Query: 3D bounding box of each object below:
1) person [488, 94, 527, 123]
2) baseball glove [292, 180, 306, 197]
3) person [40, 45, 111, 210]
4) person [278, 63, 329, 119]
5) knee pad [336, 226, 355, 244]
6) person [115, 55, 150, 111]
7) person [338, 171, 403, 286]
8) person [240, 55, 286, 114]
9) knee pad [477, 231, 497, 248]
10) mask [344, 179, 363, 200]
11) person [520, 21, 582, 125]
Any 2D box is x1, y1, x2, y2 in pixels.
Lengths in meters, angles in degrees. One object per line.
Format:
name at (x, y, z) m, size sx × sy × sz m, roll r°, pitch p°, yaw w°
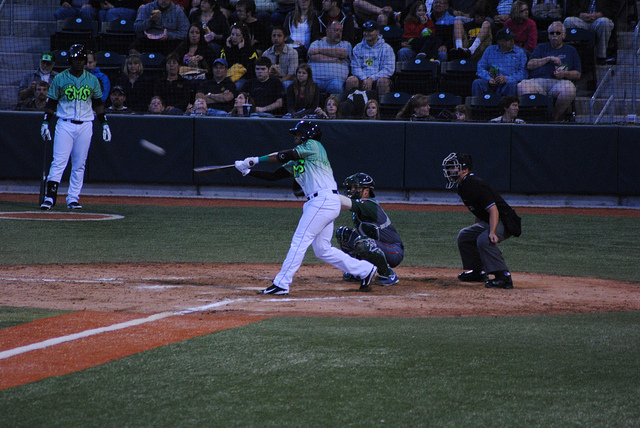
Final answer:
person at (3.638, -2.045, 19.448) m, size 0.876 × 0.541 × 0.632 m, roll -3°, pitch 3°, yaw -35°
baseball glove at (-0.254, -0.323, 12.840) m, size 0.111 × 0.266 × 0.373 m, roll -3°, pitch 14°, yaw -12°
person at (-4.271, -1.441, 16.982) m, size 1.209 × 2.893 × 0.540 m, roll -6°, pitch 17°, yaw -23°
person at (-0.332, -2.523, 19.976) m, size 0.850 × 1.049 × 1.485 m, roll 9°, pitch 16°, yaw 29°
knee pad at (0.365, 0.284, 13.503) m, size 0.273 × 0.202 × 0.157 m, roll 12°, pitch 18°, yaw 37°
person at (-3.858, -2.728, 20.443) m, size 0.682 × 1.115 × 0.613 m, roll -2°, pitch 16°, yaw -9°
person at (0.500, 0.202, 13.509) m, size 1.339 × 1.475 × 1.203 m, roll 1°, pitch -4°, yaw 15°
person at (-1.123, -2.616, 20.059) m, size 0.914 × 1.125 × 0.552 m, roll 3°, pitch 16°, yaw 7°
knee pad at (2.254, 0.330, 13.279) m, size 0.288 × 0.090 × 0.154 m, roll -9°, pitch -3°, yaw 14°
mask at (0.458, -0.337, 13.483) m, size 0.293 × 0.230 × 0.210 m, roll 5°, pitch -3°, yaw -16°
person at (4.814, -2.964, 20.412) m, size 1.170 × 1.952 × 1.487 m, roll 4°, pitch 15°, yaw 12°
